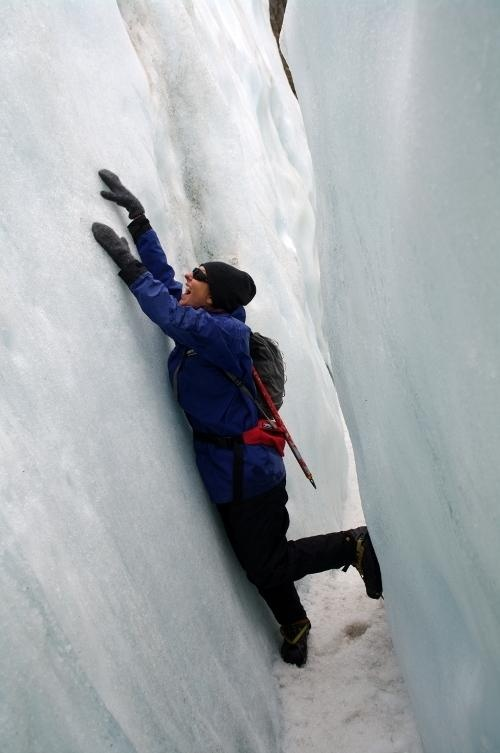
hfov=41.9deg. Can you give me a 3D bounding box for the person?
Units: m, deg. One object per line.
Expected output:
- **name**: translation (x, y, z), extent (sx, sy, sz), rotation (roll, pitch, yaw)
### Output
- **person**: translation (-0.020, 0.100, 1.718), extent (0.381, 1.370, 0.371), rotation (-27, 6, -9)

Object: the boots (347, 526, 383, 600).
- **boots**: translation (0.326, 0.521, 1.828), extent (0.066, 0.176, 0.126), rotation (0, -21, 5)

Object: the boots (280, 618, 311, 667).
- **boots**: translation (0.133, 0.748, 1.836), extent (0.047, 0.069, 0.144), rotation (-20, -3, 14)

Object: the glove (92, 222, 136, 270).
- **glove**: translation (-0.315, -0.291, 1.515), extent (0.029, 0.113, 0.069), rotation (-20, 27, 37)

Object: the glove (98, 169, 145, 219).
- **glove**: translation (-0.321, -0.449, 1.604), extent (0.048, 0.086, 0.161), rotation (1, -21, 28)

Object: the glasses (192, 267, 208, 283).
- **glasses**: translation (-0.133, -0.267, 1.693), extent (0.013, 0.041, 0.037), rotation (-34, 31, -18)
